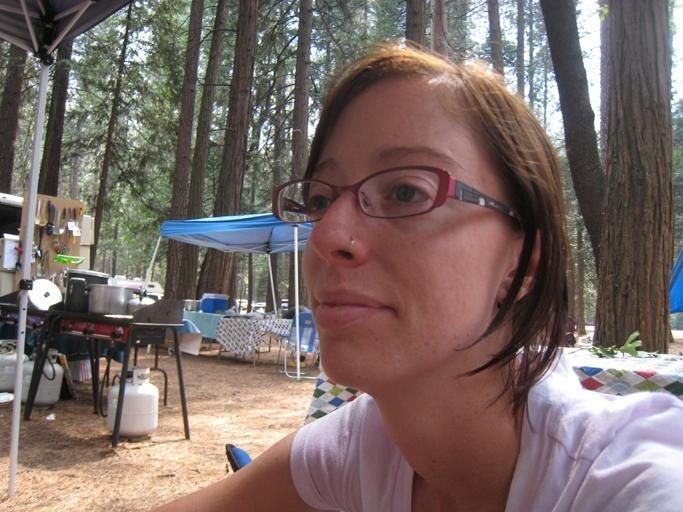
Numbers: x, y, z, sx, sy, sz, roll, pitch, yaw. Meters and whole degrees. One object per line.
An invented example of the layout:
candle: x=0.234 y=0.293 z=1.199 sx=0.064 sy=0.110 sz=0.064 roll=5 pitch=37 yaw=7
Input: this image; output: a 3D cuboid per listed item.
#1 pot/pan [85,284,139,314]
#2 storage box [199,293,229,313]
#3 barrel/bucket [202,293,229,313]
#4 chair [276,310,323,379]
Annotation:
pot/pan: x=-2.219 y=0.419 z=5.520 sx=0.299 sy=0.225 sz=0.300 roll=1 pitch=-5 yaw=-5
storage box: x=-2.704 y=0.996 z=12.088 sx=0.396 sy=0.328 sz=0.415 roll=-4 pitch=-6 yaw=33
barrel/bucket: x=-2.680 y=0.996 z=12.070 sx=0.380 sy=0.315 sz=0.402 roll=0 pitch=-4 yaw=0
chair: x=-0.672 y=1.526 z=9.937 sx=0.605 sy=0.991 sz=0.693 roll=5 pitch=-4 yaw=-7
